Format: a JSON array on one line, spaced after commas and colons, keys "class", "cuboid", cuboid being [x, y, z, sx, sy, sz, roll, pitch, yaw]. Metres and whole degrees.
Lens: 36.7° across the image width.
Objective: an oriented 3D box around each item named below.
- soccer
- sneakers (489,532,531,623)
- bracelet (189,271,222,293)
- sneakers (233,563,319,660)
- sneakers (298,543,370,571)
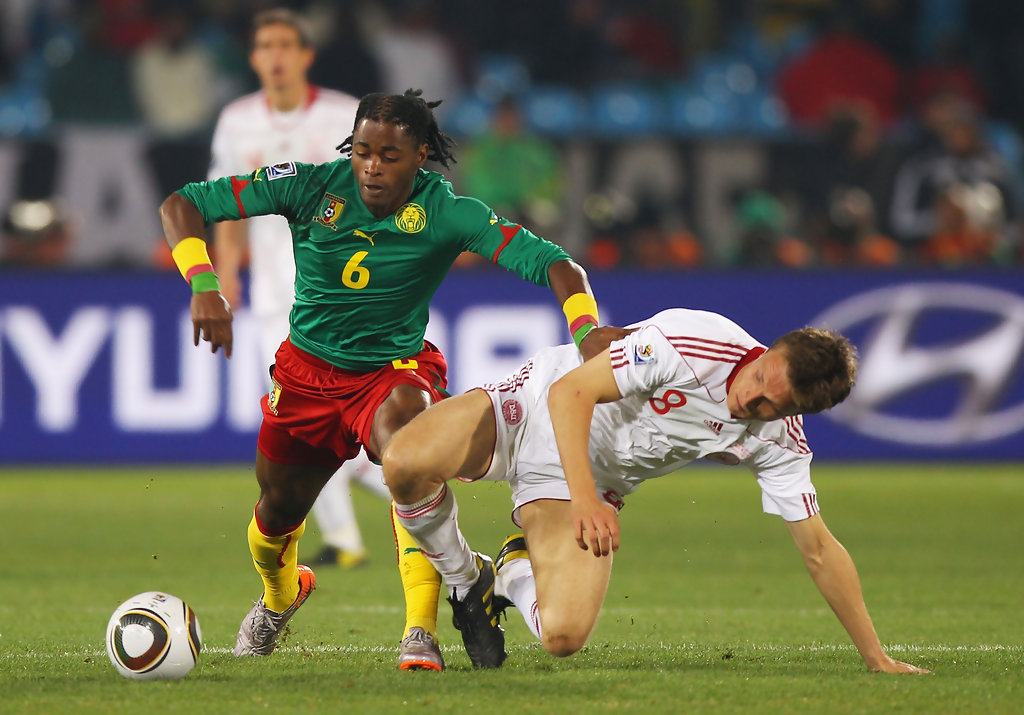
[{"class": "soccer", "cuboid": [-1.910, 1.435, 8.286, 0.439, 0.449, 0.420, 1, 7, -5]}, {"class": "sneakers", "cuboid": [-0.027, 1.231, 8.746, 0.198, 0.477, 0.161, 17, -2, 16]}, {"class": "bracelet", "cuboid": [-1.698, -0.416, 8.540, 0.126, 0.100, 0.128, -2, -2, 2]}, {"class": "sneakers", "cuboid": [-1.368, 1.501, 8.810, 0.235, 0.672, 0.284, 32, -13, 2]}, {"class": "sneakers", "cuboid": [-1.236, 1.381, 10.845, 0.481, 0.222, 0.168, 4, -1, 9]}]
